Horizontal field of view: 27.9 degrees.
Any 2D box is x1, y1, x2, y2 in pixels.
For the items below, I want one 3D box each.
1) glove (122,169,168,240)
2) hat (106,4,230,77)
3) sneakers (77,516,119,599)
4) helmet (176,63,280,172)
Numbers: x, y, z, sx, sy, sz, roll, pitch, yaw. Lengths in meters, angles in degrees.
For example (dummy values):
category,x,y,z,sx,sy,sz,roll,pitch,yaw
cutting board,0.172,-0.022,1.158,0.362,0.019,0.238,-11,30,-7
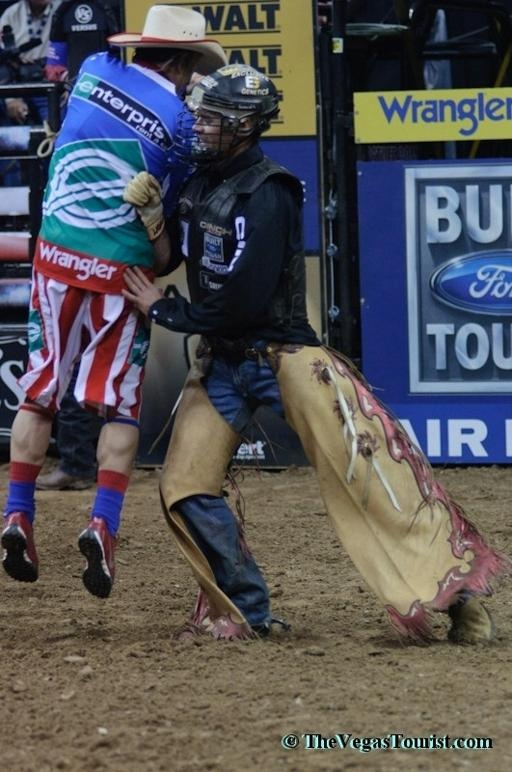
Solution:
category,x,y,z,sx,sy,sz,roll,pitch,yaw
glove,-0.392,-0.636,3.650,0.118,0.218,0.249,0,2,0
hat,-0.270,-1.207,3.763,0.357,0.124,0.276,8,-1,-32
sneakers,-0.529,0.588,3.576,0.117,0.283,0.139,-7,17,24
helmet,-0.127,-0.988,3.709,0.387,0.329,0.298,-6,37,-14
